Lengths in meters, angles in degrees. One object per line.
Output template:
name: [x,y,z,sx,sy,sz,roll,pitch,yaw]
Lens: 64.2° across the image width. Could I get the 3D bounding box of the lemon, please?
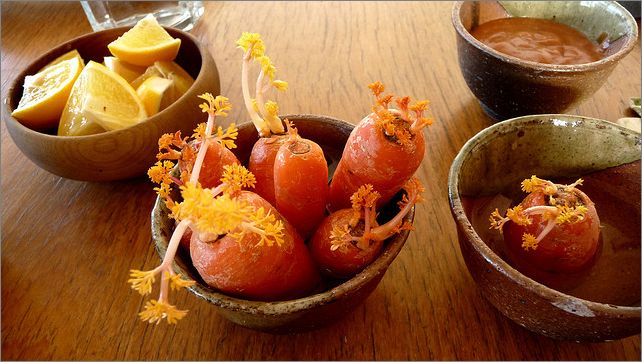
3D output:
lemon: [-0.571,-0.222,1.366,0.368,0.132,0.356,-7,34,11]
